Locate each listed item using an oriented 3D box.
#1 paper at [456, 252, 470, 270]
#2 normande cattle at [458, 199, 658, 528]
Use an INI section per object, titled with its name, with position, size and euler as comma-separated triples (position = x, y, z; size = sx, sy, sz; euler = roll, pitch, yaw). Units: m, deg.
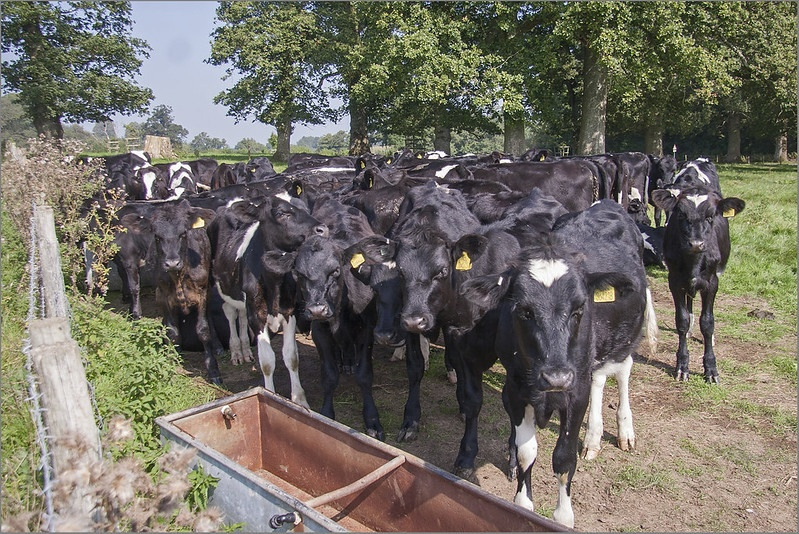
[paper]
position = 0.706, -0.077, 6.057
size = 0.137, 0.193, 0.049
euler = 2, 9, 0
[normande cattle]
position = 1.788, 0.976, 5.813
size = 1.236, 3.235, 2.362
euler = 5, 9, 35
